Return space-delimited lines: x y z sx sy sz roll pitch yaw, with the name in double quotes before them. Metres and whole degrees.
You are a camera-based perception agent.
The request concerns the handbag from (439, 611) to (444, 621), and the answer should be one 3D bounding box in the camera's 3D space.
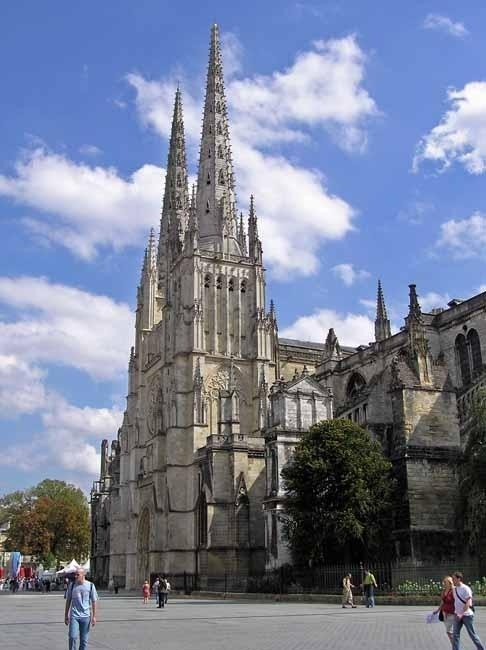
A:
"handbag" 2.802 4.119 11.502 0.059 0.135 0.190 -5 -17 13
